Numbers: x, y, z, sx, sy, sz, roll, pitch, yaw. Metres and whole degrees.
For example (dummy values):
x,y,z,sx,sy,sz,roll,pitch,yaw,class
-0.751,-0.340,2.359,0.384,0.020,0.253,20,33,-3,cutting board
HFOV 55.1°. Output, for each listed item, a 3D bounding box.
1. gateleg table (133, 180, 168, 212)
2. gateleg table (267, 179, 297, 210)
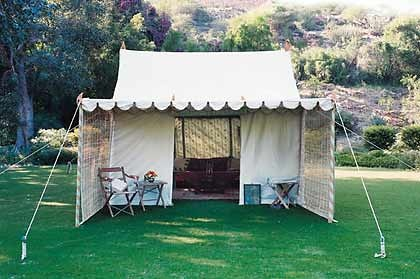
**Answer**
x,y,z,sx,sy,sz,roll,pitch,yaw,class
-1.963,1.845,13.281,0.948,0.911,0.943,2,-4,-27,gateleg table
2.420,1.848,13.486,1.009,0.956,0.931,-1,-8,3,gateleg table
